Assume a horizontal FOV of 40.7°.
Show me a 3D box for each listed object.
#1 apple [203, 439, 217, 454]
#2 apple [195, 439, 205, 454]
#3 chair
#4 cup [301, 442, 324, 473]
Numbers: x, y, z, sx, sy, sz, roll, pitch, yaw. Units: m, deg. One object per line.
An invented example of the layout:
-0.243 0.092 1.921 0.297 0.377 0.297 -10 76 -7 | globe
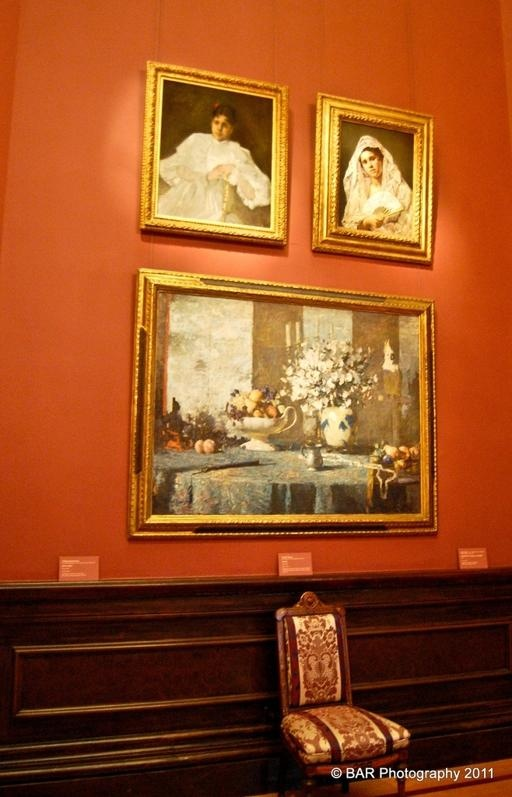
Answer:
-0.220 0.232 3.318 0.064 0.069 0.062 -2 -11 -3 | apple
-0.272 0.229 3.304 0.052 0.065 0.054 -3 2 3 | apple
0.356 1.354 3.023 0.508 0.905 0.667 1 -4 -8 | chair
0.287 0.292 3.476 0.139 0.153 0.096 -4 0 6 | cup
